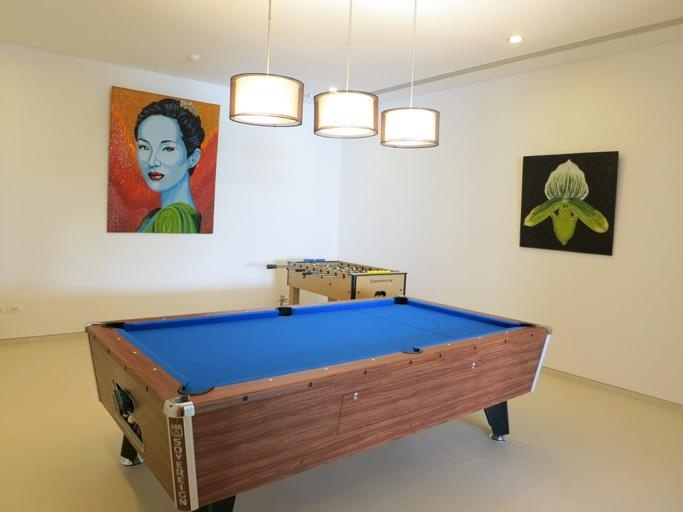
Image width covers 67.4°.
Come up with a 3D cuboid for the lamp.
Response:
[{"bbox_3d":[-0.025,-1.610,4.365,1.248,1.202,0.302,2,3,-27],"label":"lamp"}]
